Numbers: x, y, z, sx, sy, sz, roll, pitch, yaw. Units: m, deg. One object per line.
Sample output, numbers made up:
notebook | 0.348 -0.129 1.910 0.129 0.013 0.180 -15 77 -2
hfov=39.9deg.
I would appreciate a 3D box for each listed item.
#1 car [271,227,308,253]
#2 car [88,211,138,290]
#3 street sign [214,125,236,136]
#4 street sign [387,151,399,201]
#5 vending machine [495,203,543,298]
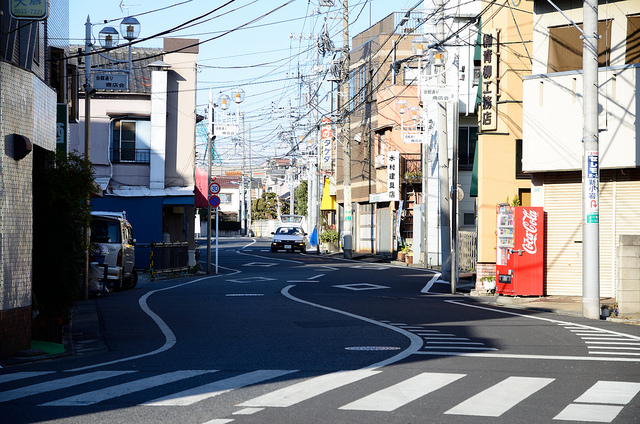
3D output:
car | -2.142 2.010 62.421 2.277 1.816 3.140 1 -3 -1
car | -8.046 1.492 32.735 2.336 2.934 4.656 1 -4 -9
street sign | -4.696 -4.029 44.053 0.323 0.623 1.555 -1 -3 37
street sign | 4.185 -2.050 50.220 0.633 2.697 1.008 0 -2 3
vending machine | 6.694 1.273 29.766 1.119 3.314 1.323 2 0 -2
